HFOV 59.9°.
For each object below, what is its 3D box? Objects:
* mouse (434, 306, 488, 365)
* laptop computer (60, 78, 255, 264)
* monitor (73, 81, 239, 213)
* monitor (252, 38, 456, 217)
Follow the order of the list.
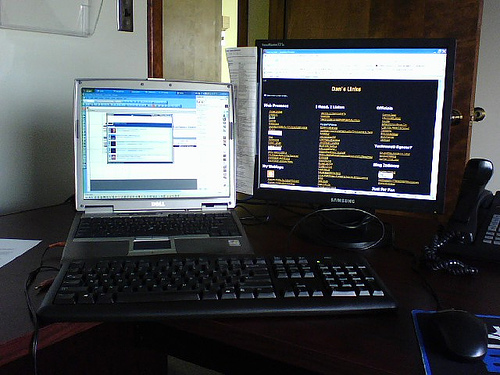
[{"bbox_3d":[0.408,0.291,0.842,0.093,0.067,0.085,7,18,18],"label":"mouse"},{"bbox_3d":[-0.249,-0.063,1.149,0.498,0.406,0.426,1,17,-6],"label":"laptop computer"},{"bbox_3d":[-0.297,-0.127,1.284,0.380,0.302,0.025,-2,1,-9],"label":"monitor"},{"bbox_3d":[0.289,-0.181,1.211,0.491,0.446,0.034,3,4,16],"label":"monitor"}]
